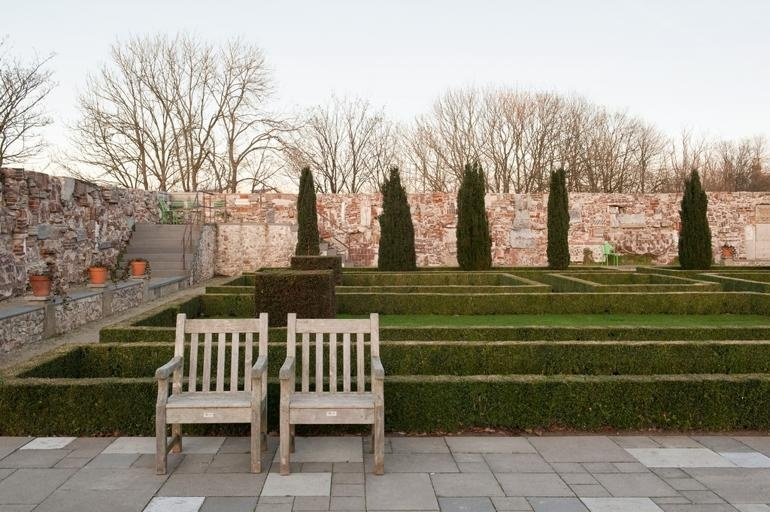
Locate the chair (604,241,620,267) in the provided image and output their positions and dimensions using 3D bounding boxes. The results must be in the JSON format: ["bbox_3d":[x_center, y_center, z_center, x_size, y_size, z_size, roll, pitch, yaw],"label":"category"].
[{"bbox_3d":[9.606,-0.109,26.286,0.634,0.939,1.032,-1,4,20],"label":"chair"}]
